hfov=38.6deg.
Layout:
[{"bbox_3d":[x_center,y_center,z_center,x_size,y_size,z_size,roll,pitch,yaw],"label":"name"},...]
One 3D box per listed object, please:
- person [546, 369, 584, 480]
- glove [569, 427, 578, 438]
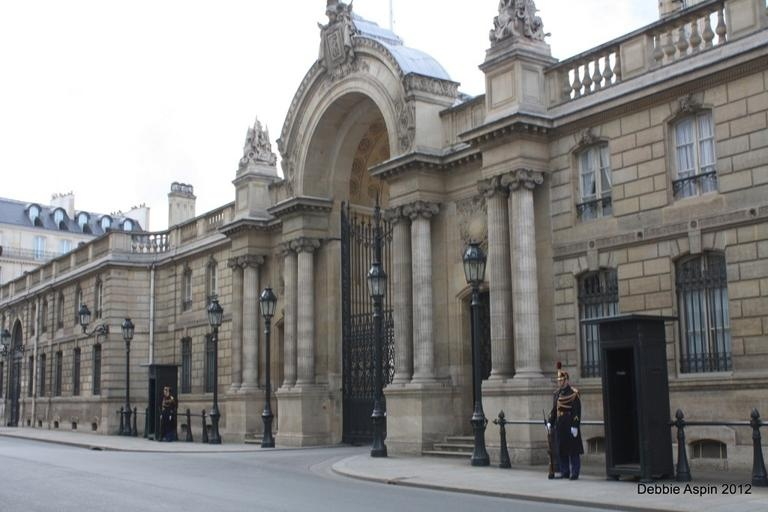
[{"bbox_3d":[5.532,5.077,33.810,1.089,3.597,0.877,-9,-17,23],"label":"person"},{"bbox_3d":[5.779,5.363,33.343,0.198,0.288,0.094,0,1,17],"label":"glove"}]
